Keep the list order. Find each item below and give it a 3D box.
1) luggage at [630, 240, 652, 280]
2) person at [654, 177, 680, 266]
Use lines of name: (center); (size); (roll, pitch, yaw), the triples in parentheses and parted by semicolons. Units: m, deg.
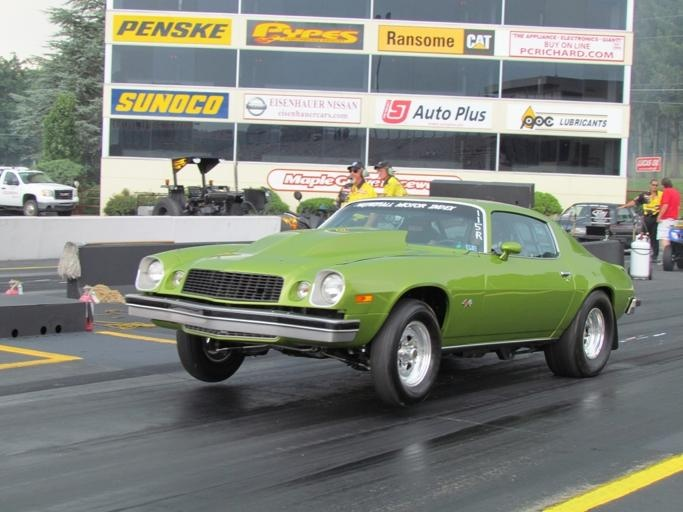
luggage: (8.090, 0.029, 16.766); (0.775, 1.069, 0.657); (1, -1, 3)
person: (9.835, -1.002, 18.525); (0.585, 2.764, 1.021); (2, 7, 25)
